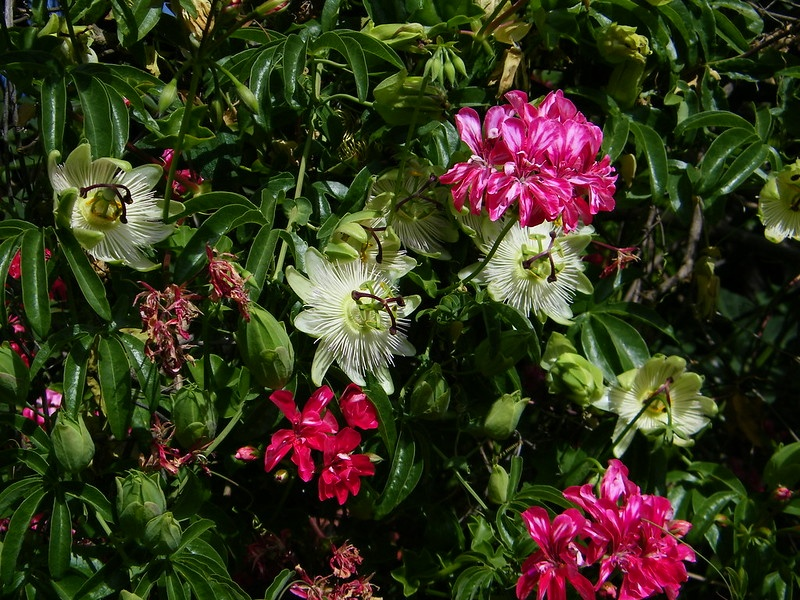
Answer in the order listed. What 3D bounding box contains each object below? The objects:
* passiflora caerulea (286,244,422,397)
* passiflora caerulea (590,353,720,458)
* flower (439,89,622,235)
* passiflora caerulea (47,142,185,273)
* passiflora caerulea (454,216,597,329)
[{"bbox_3d":[-0.115,0.045,1.880,0.103,0.304,0.292,-11,30,49],"label":"passiflora caerulea"},{"bbox_3d":[0.599,0.252,2.013,0.234,0.128,0.307,1,34,3],"label":"passiflora caerulea"},{"bbox_3d":[0.285,-0.291,1.854,0.388,0.244,0.209,16,25,1],"label":"flower"},{"bbox_3d":[-0.644,-0.239,1.843,0.097,0.195,0.211,47,3,1],"label":"passiflora caerulea"},{"bbox_3d":[0.317,-0.064,2.033,0.219,0.114,0.232,-8,33,-42],"label":"passiflora caerulea"}]
